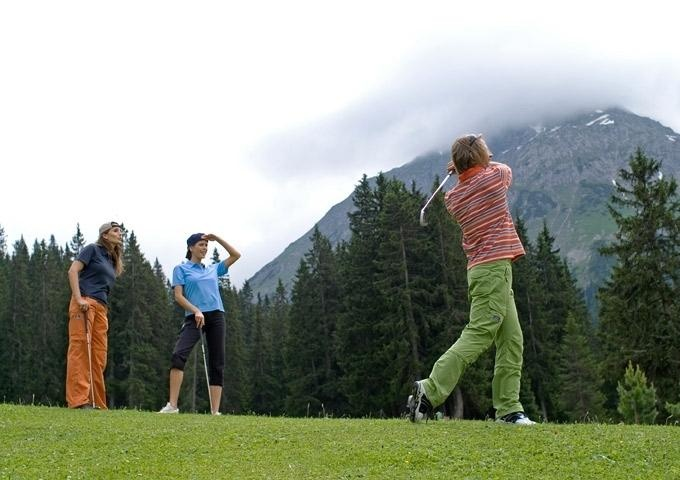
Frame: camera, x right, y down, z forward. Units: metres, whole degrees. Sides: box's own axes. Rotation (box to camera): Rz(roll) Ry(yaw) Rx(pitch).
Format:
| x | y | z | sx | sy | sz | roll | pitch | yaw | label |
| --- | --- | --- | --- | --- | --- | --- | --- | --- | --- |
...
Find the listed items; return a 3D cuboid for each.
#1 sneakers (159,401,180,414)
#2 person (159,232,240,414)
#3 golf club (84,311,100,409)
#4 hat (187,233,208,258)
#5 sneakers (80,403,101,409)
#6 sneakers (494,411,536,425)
| x | y | z | sx | sy | sz | roll | pitch | yaw | label |
| --- | --- | --- | --- | --- | --- | --- | --- | --- | --- |
| -3.206 | 3.112 | 13.270 | 0.465 | 0.211 | 0.194 | -4 | -5 | 20 | sneakers |
| -2.657 | 1.548 | 13.543 | 1.242 | 3.369 | 0.832 | 3 | -6 | -15 | person |
| -4.615 | 2.220 | 13.369 | 0.199 | 1.724 | 0.401 | -1 | -6 | 15 | golf club |
| -2.536 | 0.104 | 12.727 | 0.424 | 0.413 | 0.320 | -20 | -8 | 30 | hat |
| -4.597 | 3.046 | 13.121 | 0.220 | 0.078 | 0.160 | 3 | -3 | 30 | sneakers |
| 2.797 | 2.855 | 11.429 | 0.592 | 0.266 | 0.221 | -11 | -12 | 33 | sneakers |
